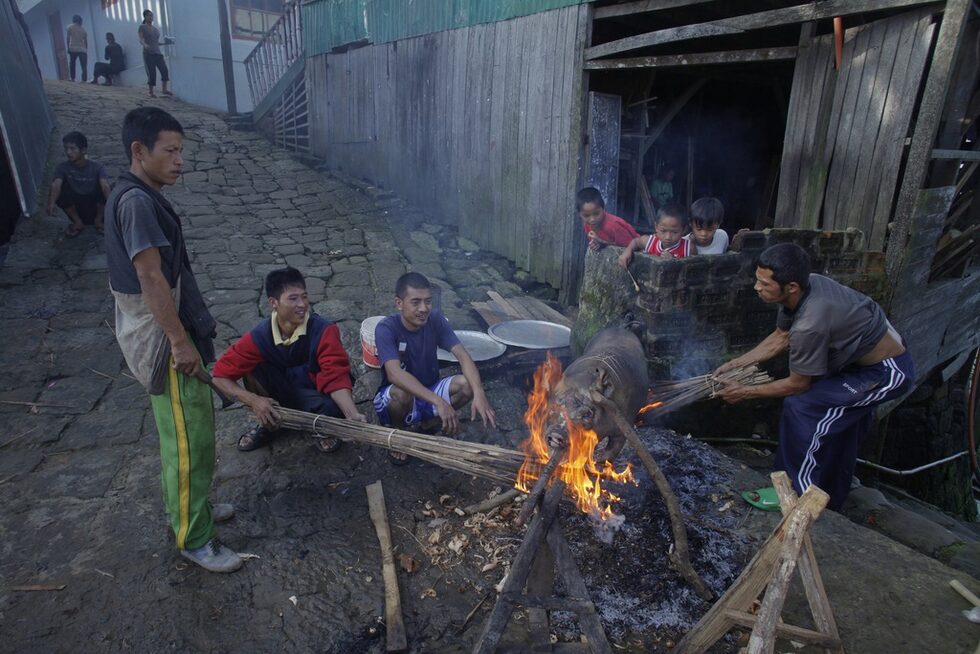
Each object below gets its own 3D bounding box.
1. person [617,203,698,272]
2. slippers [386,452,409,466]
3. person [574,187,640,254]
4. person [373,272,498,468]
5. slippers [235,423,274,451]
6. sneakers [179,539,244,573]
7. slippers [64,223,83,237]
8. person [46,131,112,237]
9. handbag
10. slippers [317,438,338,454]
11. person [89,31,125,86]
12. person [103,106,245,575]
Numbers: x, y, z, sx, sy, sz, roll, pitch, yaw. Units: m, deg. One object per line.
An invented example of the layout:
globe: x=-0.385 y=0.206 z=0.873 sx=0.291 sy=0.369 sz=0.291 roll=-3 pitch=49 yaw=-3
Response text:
person: x=1.907 y=-0.793 z=7.097 sx=0.703 sy=1.012 sz=0.602 roll=-5 pitch=29 yaw=3
slippers: x=-0.897 y=1.323 z=6.277 sx=0.147 sy=0.049 sz=0.153 roll=8 pitch=3 yaw=6
person: x=1.459 y=-1.443 z=8.073 sx=0.723 sy=0.884 sz=0.644 roll=-30 pitch=39 yaw=-17
person: x=-0.605 y=0.391 z=6.276 sx=1.084 sy=1.762 sz=0.875 roll=2 pitch=20 yaw=0
slippers: x=-2.369 y=1.139 z=6.394 sx=0.327 sy=0.151 sz=0.162 roll=-27 pitch=63 yaw=-31
sneakers: x=-2.349 y=1.915 z=5.363 sx=0.422 sy=0.165 sz=0.251 roll=6 pitch=13 yaw=14
slippers: x=-6.621 y=-1.547 z=10.087 sx=0.113 sy=0.158 sz=0.375 roll=-15 pitch=21 yaw=-26
person: x=-6.544 y=-2.294 z=10.062 sx=0.839 sy=1.515 sz=0.532 roll=-7 pitch=22 yaw=-23
handbag: x=-2.845 y=0.099 z=5.163 sx=0.349 sy=0.832 sz=0.603 roll=-3 pitch=15 yaw=-32
slippers: x=-1.617 y=1.197 z=6.361 sx=0.220 sy=0.102 sz=0.108 roll=10 pitch=23 yaw=27
person: x=-12.767 y=-8.991 z=21.195 sx=1.012 sy=1.601 sz=2.578 roll=-9 pitch=23 yaw=-28
person: x=-2.627 y=0.152 z=5.222 sx=0.725 sy=3.668 sz=1.321 roll=-11 pitch=24 yaw=-31
